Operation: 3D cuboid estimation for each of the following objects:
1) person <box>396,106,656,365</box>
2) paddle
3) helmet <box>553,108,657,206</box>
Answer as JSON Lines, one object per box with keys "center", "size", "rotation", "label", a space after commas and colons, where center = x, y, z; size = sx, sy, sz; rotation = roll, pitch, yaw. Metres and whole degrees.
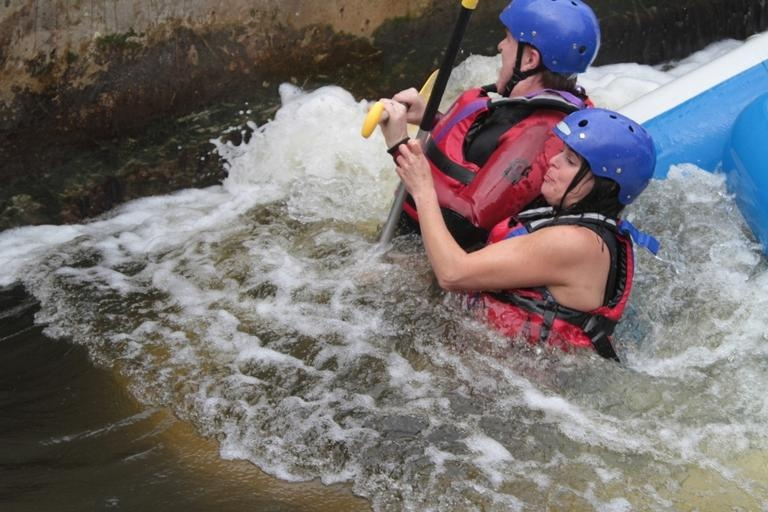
{"center": [0.808, -0.083, 5.324], "size": [0.939, 0.648, 1.320], "rotation": [27, -56, -1], "label": "person"}
{"center": [0.081, -0.997, 6.178], "size": [0.161, 0.911, 0.275], "rotation": [30, -38, 17], "label": "paddle"}
{"center": [1.176, -0.584, 5.279], "size": [0.569, 0.442, 0.421], "rotation": [16, -70, -13], "label": "helmet"}
